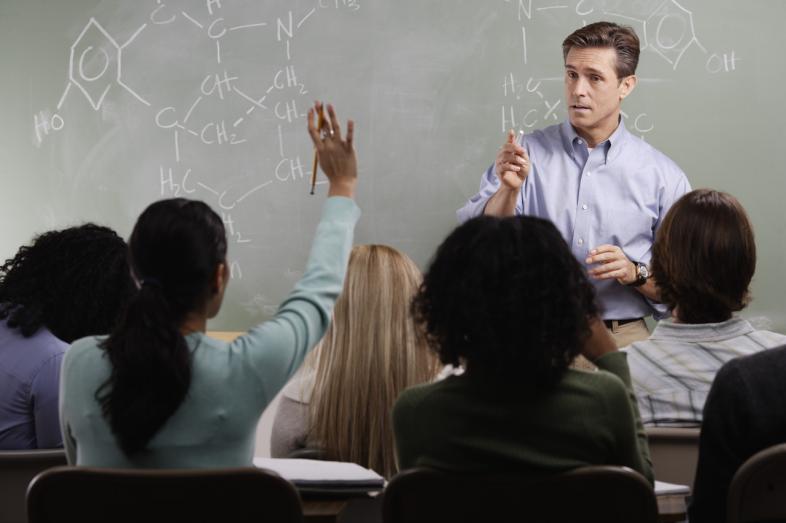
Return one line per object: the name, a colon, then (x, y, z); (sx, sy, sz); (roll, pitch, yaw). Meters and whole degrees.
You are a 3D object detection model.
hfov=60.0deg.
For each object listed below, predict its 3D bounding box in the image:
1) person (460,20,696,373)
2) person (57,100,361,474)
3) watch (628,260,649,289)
person: (0.786, 0.024, 2.827); (1.030, 1.852, 0.653); (2, 12, 5)
person: (-0.441, 0.051, 1.615); (0.716, 0.881, 0.250); (-1, 3, -4)
watch: (0.916, 0.045, 2.526); (0.031, 0.084, 0.078); (11, -15, -43)
